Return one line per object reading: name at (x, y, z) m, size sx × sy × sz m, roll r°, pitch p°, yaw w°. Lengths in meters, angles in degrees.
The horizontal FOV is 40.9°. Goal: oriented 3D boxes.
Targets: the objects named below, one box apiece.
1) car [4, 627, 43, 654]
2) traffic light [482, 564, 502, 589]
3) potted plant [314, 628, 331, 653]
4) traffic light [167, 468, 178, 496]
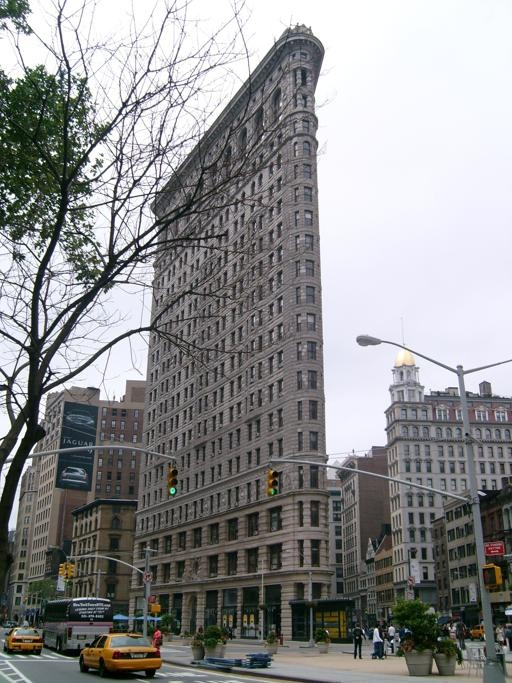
car at (-12.483, 16.094, 36.930) m, size 1.520 × 0.945 × 2.919 m, roll 10°, pitch -21°, yaw -20°
traffic light at (6.846, 6.846, 20.028) m, size 0.509 × 0.697 × 0.815 m, roll -7°, pitch -23°, yaw 15°
potted plant at (4.358, 19.978, 45.666) m, size 0.864 × 1.473 × 2.266 m, roll -2°, pitch -22°, yaw 3°
traffic light at (-2.774, 4.642, 22.814) m, size 0.285 × 0.948 × 0.877 m, roll 3°, pitch -23°, yaw -10°
